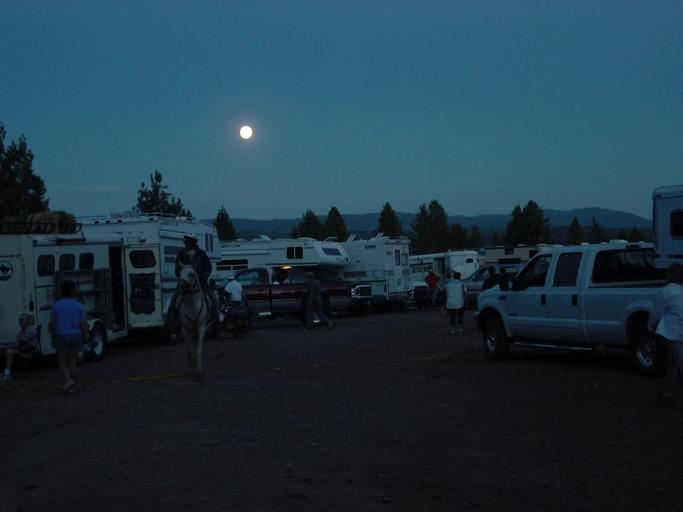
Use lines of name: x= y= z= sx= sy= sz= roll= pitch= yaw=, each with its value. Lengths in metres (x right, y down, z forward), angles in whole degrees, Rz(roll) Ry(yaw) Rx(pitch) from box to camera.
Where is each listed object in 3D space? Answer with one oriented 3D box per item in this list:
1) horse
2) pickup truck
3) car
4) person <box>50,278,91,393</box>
horse: x=-3.282 y=1.362 z=13.908 sx=0.753 sy=2.360 sz=1.959 roll=-1 pitch=-1 yaw=-12
pickup truck: x=5.081 y=0.984 z=13.384 sx=1.886 sy=1.778 sz=3.358 roll=0 pitch=1 yaw=-40
car: x=7.086 y=2.083 z=32.667 sx=4.603 sy=2.897 sz=2.834 roll=-1 pitch=1 yaw=8
person: x=-5.258 y=1.517 z=12.004 sx=0.658 sy=2.089 sz=1.291 roll=-1 pitch=-1 yaw=-25
